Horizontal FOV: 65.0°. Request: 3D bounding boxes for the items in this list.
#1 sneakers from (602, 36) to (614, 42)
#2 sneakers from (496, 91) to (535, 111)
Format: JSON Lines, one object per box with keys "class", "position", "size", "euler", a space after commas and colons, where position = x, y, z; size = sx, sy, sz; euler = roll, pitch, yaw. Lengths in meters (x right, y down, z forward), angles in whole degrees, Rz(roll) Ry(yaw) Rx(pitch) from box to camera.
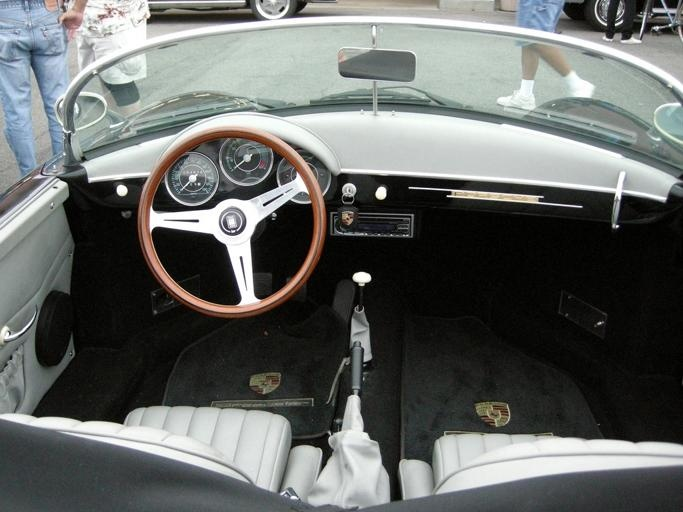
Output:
{"class": "sneakers", "position": [3.517, -2.877, 7.073], "size": [0.073, 0.088, 0.204], "euler": [0, 19, 4]}
{"class": "sneakers", "position": [0.740, -0.655, 2.273], "size": [0.156, 0.067, 0.068], "euler": [12, -28, 11]}
